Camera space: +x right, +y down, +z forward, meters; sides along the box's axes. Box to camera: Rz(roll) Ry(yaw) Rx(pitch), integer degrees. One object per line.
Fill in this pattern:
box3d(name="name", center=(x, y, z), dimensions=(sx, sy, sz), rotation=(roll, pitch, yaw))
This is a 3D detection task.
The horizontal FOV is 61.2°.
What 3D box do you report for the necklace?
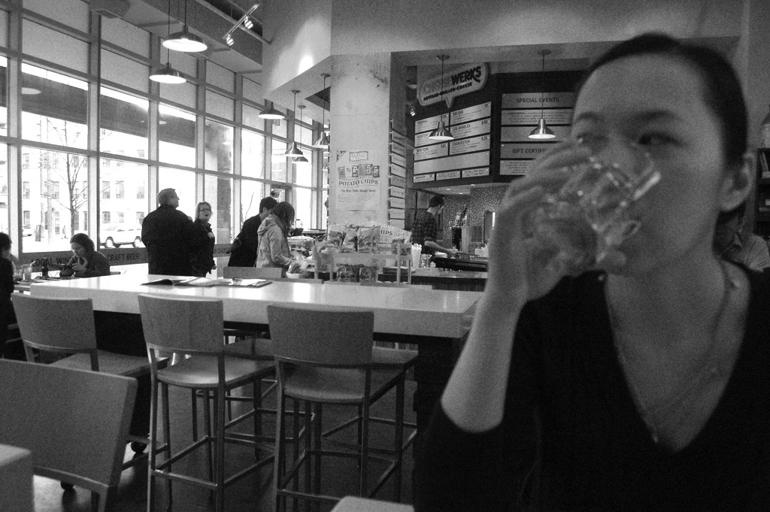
box3d(name="necklace", center=(0.312, 0.102, 0.650), dimensions=(0.096, 0.167, 0.035), rotation=(1, -4, 11))
